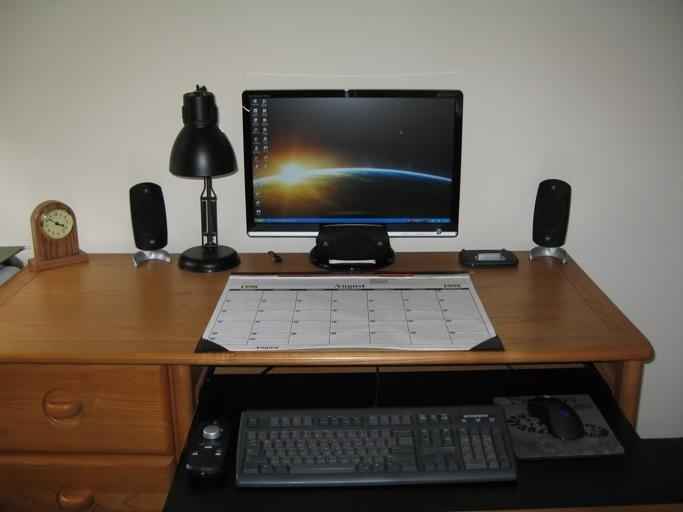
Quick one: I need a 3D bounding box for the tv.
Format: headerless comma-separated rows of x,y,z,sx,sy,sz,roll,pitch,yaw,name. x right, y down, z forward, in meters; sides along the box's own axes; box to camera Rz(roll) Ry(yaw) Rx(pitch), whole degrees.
0.033,-0.239,1.552,0.592,0.424,0.167,0,23,-1,tv

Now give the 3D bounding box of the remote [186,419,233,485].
-0.292,0.426,1.175,0.080,0.045,0.146,2,23,-1,remote

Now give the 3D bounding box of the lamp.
-0.412,-0.236,1.599,0.191,0.531,0.238,-4,18,-11,lamp

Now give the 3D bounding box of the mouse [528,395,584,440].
0.504,0.374,1.236,0.079,0.052,0.124,-6,18,-19,mouse

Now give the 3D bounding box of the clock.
-0.874,-0.068,1.622,0.182,0.210,0.080,-16,30,-41,clock
